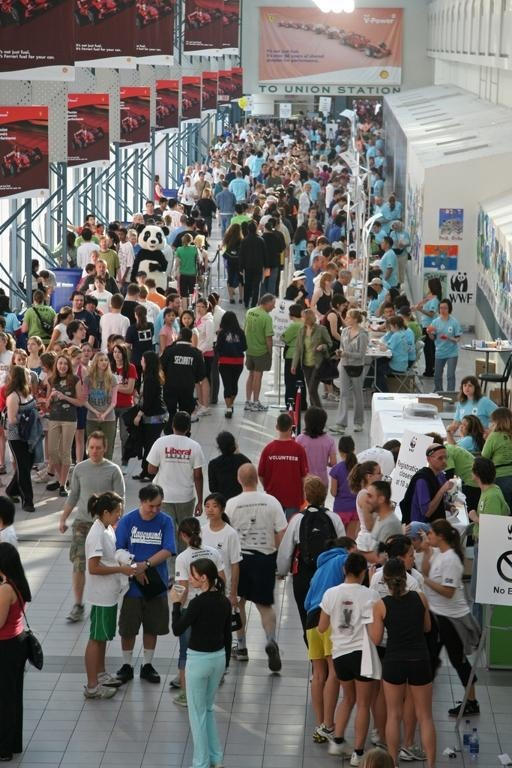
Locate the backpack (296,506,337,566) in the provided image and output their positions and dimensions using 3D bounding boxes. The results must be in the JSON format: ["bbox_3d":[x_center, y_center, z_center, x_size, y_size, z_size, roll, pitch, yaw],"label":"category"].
[{"bbox_3d":[0.344,0.899,4.063,0.211,0.340,0.170,-5,1,9],"label":"backpack"}]

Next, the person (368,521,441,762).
[{"bbox_3d":[0.660,1.264,3.060,0.231,1.069,0.411,1,7,10],"label":"person"}]

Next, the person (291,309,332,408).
[{"bbox_3d":[0.801,-0.283,9.823,0.508,1.274,0.590,2,8,20],"label":"person"}]

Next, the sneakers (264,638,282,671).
[{"bbox_3d":[0.113,1.704,4.343,0.082,0.239,0.097,-3,6,12],"label":"sneakers"}]

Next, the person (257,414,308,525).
[{"bbox_3d":[0.235,0.831,5.688,0.391,1.296,0.352,4,26,11],"label":"person"}]

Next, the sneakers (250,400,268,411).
[{"bbox_3d":[0.026,0.348,10.993,0.309,0.162,0.116,2,15,-12],"label":"sneakers"}]

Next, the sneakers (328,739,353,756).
[{"bbox_3d":[0.398,1.764,3.362,0.132,0.048,0.060,11,-43,-30],"label":"sneakers"}]

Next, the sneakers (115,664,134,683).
[{"bbox_3d":[-0.785,1.728,4.143,0.052,0.070,0.160,3,9,4],"label":"sneakers"}]

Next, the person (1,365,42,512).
[{"bbox_3d":[-2.328,0.590,6.933,0.345,1.545,0.645,-3,8,-20],"label":"person"}]

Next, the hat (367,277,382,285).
[{"bbox_3d":[2.283,-1.973,13.235,0.206,0.121,0.156,4,-6,-12],"label":"hat"}]

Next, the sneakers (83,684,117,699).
[{"bbox_3d":[-0.879,1.741,3.925,0.182,0.093,0.078,0,33,-6],"label":"sneakers"}]

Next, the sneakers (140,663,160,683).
[{"bbox_3d":[-0.632,1.748,4.195,0.064,0.078,0.179,2,13,-18],"label":"sneakers"}]

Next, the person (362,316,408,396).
[{"bbox_3d":[2.046,-0.438,10.880,0.671,1.260,0.549,0,13,-20],"label":"person"}]

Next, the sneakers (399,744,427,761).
[{"bbox_3d":[0.741,1.746,3.303,0.124,0.057,0.054,9,1,-20],"label":"sneakers"}]

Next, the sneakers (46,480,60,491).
[{"bbox_3d":[-2.292,1.146,7.826,0.068,0.085,0.192,5,-4,12],"label":"sneakers"}]

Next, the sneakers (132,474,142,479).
[{"bbox_3d":[-1.391,1.081,8.136,0.054,0.064,0.159,1,5,5],"label":"sneakers"}]

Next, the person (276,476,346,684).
[{"bbox_3d":[0.337,1.120,4.248,0.387,1.133,0.331,-5,11,-16],"label":"person"}]

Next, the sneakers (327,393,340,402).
[{"bbox_3d":[1.301,0.238,11.635,0.086,0.113,0.255,0,-2,-22],"label":"sneakers"}]

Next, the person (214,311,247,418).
[{"bbox_3d":[-0.366,-0.258,10.302,0.463,1.627,0.946,-1,7,-3],"label":"person"}]

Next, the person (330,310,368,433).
[{"bbox_3d":[1.333,-0.191,9.950,0.468,1.770,1.478,0,8,9],"label":"person"}]

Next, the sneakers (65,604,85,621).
[{"bbox_3d":[-1.329,1.688,5.123,0.053,0.078,0.167,0,-1,6],"label":"sneakers"}]

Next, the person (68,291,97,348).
[{"bbox_3d":[-2.339,-0.702,9.280,0.435,0.987,0.263,-4,-2,-15],"label":"person"}]

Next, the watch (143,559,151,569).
[{"bbox_3d":[-0.609,1.007,3.893,0.032,0.052,0.046,2,-7,-20],"label":"watch"}]

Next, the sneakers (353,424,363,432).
[{"bbox_3d":[1.473,0.639,10.017,0.092,0.098,0.228,-1,-4,4],"label":"sneakers"}]

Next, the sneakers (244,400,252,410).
[{"bbox_3d":[-0.124,0.341,10.966,0.113,0.146,0.306,0,-5,2],"label":"sneakers"}]

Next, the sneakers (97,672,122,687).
[{"bbox_3d":[-0.834,1.707,4.044,0.165,0.073,0.058,17,-2,-44],"label":"sneakers"}]

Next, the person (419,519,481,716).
[{"bbox_3d":[1.003,1.259,3.729,0.359,1.053,0.296,-2,4,34],"label":"person"}]

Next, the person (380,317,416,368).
[{"bbox_3d":[2.207,-0.596,10.766,0.674,0.892,0.305,-6,9,-38],"label":"person"}]

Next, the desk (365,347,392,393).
[{"bbox_3d":[1.906,-0.208,10.962,0.476,0.480,0.958,0,14,4],"label":"desk"}]

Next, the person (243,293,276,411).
[{"bbox_3d":[0.054,-0.432,10.508,0.464,1.808,1.014,-1,7,-1],"label":"person"}]

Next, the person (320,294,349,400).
[{"bbox_3d":[1.221,-0.536,10.583,0.526,1.615,0.502,2,14,1],"label":"person"}]

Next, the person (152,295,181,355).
[{"bbox_3d":[-1.245,-0.796,9.607,0.386,1.263,0.395,6,31,1],"label":"person"}]

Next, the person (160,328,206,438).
[{"bbox_3d":[-0.934,0.040,8.548,0.505,1.415,0.437,6,15,-8],"label":"person"}]

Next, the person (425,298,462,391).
[{"bbox_3d":[3.003,-0.594,11.193,0.495,1.493,0.585,1,7,10],"label":"person"}]

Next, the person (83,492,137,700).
[{"bbox_3d":[-0.842,1.209,3.947,0.308,1.169,0.392,-3,8,-17],"label":"person"}]

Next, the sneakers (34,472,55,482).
[{"bbox_3d":[-2.488,1.099,8.193,0.184,0.107,0.282,-9,3,6],"label":"sneakers"}]

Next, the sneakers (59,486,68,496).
[{"bbox_3d":[-2.115,1.183,7.621,0.052,0.066,0.161,2,4,0],"label":"sneakers"}]
